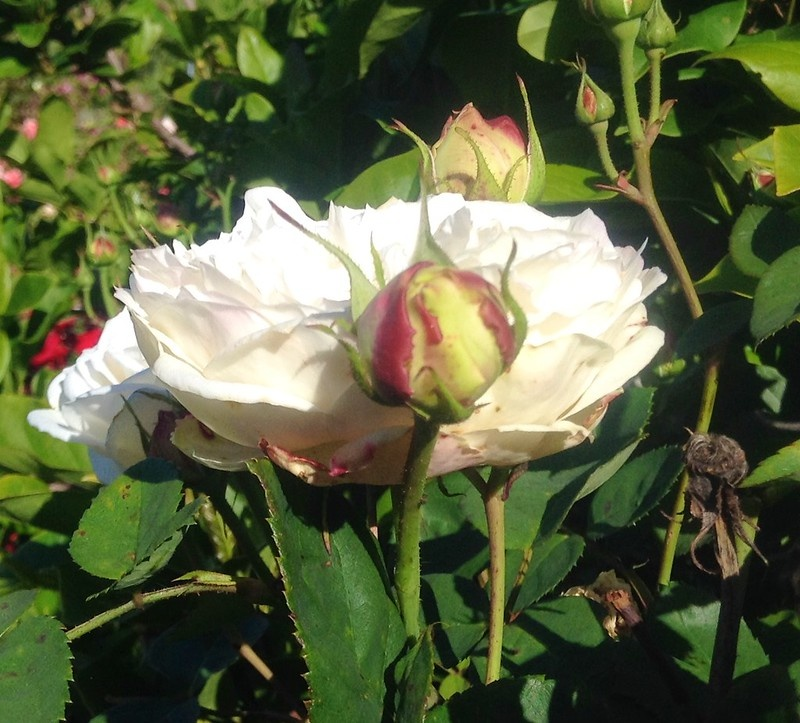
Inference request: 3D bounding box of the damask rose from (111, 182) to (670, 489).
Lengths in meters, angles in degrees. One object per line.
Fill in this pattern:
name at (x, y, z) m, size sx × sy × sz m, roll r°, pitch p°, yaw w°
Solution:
damask rose at (-0.011, -0.016, 0.736) m, size 0.254 × 0.128 × 0.260 m, roll -4°, pitch 1°, yaw -4°
